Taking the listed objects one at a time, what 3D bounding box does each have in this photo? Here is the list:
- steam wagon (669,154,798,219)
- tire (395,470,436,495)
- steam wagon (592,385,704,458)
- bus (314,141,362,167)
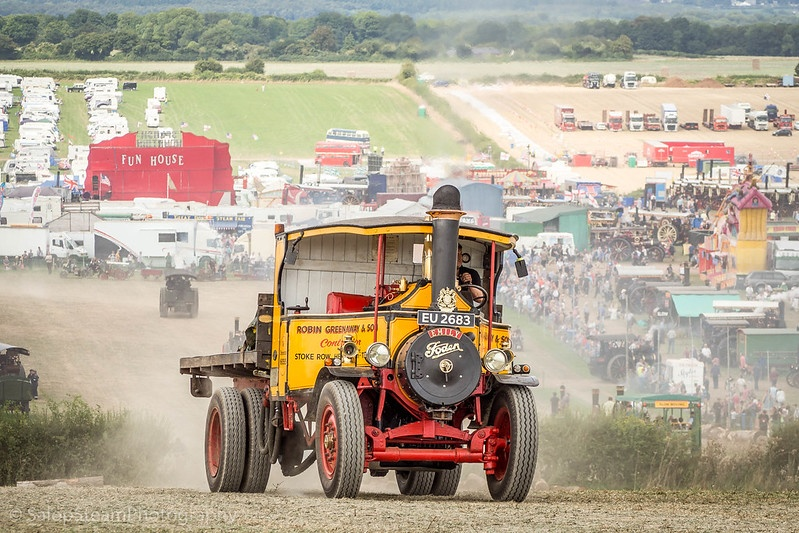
[{"bbox_3d":[24.481,-5.602,147.095,8.188,2.455,5.454,2,2,14],"label":"steam wagon"},{"bbox_3d":[0.956,11.448,106.555,1.525,1.461,0.580,3,-4,31],"label":"tire"},{"bbox_3d":[14.892,9.106,117.710,5.546,2.994,3.152,2,-2,3],"label":"steam wagon"},{"bbox_3d":[-5.128,-9.398,173.996,5.007,2.269,1.793,0,6,8],"label":"bus"}]
